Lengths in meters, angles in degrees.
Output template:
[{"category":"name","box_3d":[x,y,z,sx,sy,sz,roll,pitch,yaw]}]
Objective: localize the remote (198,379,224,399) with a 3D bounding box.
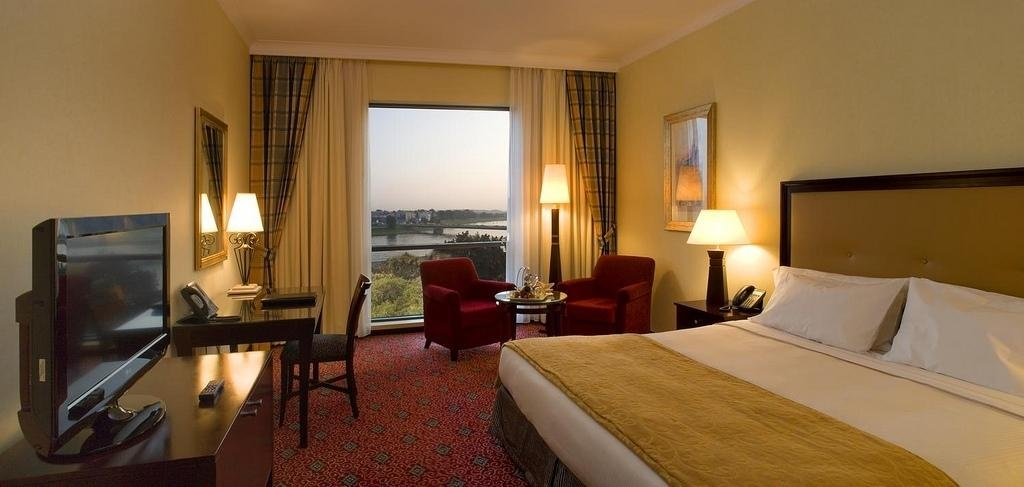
[{"category":"remote","box_3d":[-2.352,1.137,4.335,0.110,0.039,0.190,0,4,-16]}]

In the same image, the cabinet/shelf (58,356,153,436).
[{"category":"cabinet/shelf","box_3d":[-2.998,1.118,4.049,0.311,0.379,0.575,19,12,13]}]

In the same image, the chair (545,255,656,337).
[{"category":"chair","box_3d":[1.265,0.770,7.531,1.097,1.122,1.160,2,8,25]}]

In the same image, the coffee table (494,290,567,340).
[{"category":"coffee table","box_3d":[0.262,0.997,6.959,0.849,0.539,0.770,-1,-2,-20]}]

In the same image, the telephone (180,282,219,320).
[{"category":"telephone","box_3d":[-3.175,0.598,5.632,0.475,0.460,0.194,-21,-33,36]}]

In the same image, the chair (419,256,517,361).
[{"category":"chair","box_3d":[-0.641,0.811,7.398,1.280,1.080,1.189,3,7,26]}]

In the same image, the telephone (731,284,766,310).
[{"category":"telephone","box_3d":[2.692,0.616,6.346,0.359,0.202,0.238,6,-7,-11]}]
